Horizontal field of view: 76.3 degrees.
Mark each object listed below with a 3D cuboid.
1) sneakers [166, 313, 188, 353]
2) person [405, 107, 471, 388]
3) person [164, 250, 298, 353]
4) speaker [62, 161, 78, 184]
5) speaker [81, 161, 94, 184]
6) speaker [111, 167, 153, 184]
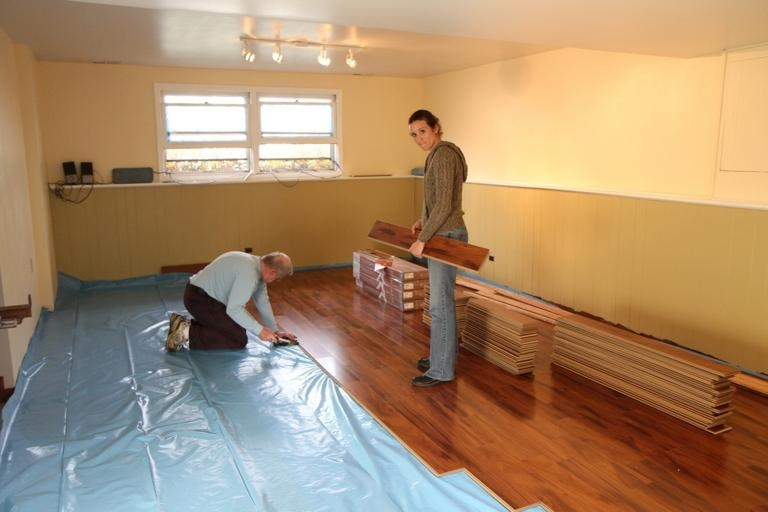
[{"bbox_3d":[-2.032,0.762,4.901,0.200,0.400,0.180,-1,-10,4],"label":"sneakers"},{"bbox_3d":[0.475,-0.065,4.267,0.494,2.361,0.551,-1,13,3],"label":"person"},{"bbox_3d":[-1.560,0.358,4.883,1.382,1.062,0.812,2,22,-23],"label":"person"},{"bbox_3d":[-4.349,-1.162,6.775,0.179,0.307,0.187,-10,15,-32],"label":"speaker"},{"bbox_3d":[-4.160,-1.165,6.828,0.169,0.301,0.116,-9,15,-30],"label":"speaker"},{"bbox_3d":[-3.618,-1.162,7.034,0.571,0.239,0.215,-7,14,-25],"label":"speaker"}]
